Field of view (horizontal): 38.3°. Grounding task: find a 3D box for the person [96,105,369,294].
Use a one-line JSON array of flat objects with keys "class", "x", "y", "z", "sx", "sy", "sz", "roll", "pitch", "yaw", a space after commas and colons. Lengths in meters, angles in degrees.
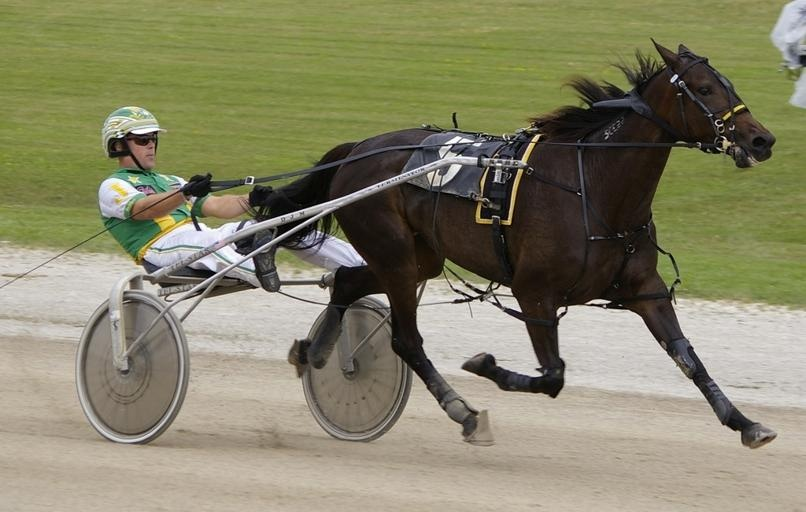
[{"class": "person", "x": -1.423, "y": -0.379, "z": 8.955, "sx": 2.097, "sy": 0.789, "sz": 0.823, "roll": 14, "pitch": 22, "yaw": 23}]
